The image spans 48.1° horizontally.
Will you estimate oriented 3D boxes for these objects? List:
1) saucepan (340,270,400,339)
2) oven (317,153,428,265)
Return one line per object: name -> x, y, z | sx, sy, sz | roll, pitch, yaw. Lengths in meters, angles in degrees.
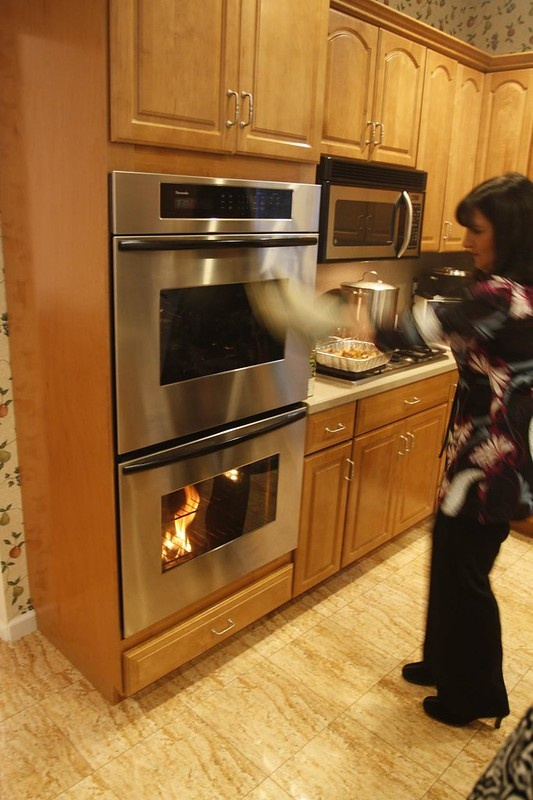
saucepan -> 0.478, -0.451, 2.642 | 0.259, 0.293, 0.266 | 12, 23, 28
oven -> 0.413, -0.775, 2.390 | 0.269, 0.328, 0.501 | 13, 21, 37
